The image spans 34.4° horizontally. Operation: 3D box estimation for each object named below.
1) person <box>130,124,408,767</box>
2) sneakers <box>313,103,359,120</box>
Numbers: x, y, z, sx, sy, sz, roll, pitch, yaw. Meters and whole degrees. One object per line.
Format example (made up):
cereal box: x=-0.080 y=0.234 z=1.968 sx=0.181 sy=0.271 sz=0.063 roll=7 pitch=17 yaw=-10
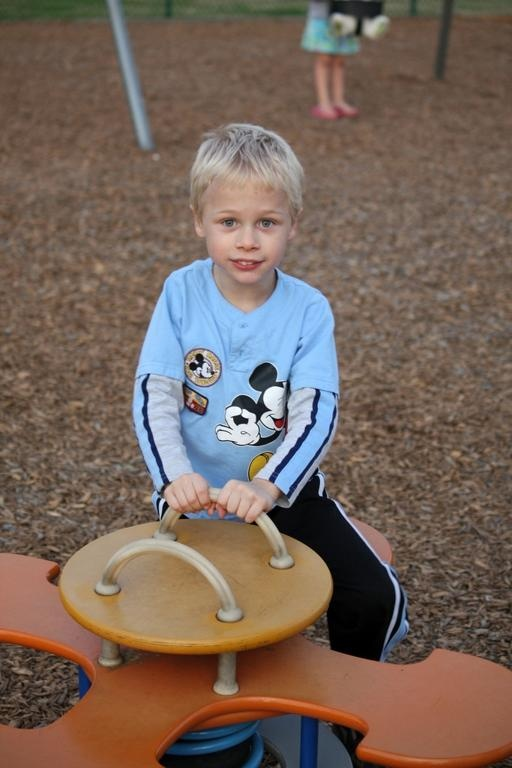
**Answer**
person: x=0.034 y=0.108 z=1.599 sx=0.538 sy=1.204 sz=0.707 roll=2 pitch=15 yaw=-9
sneakers: x=0.614 y=-2.027 z=6.160 sx=0.405 sy=0.140 sz=0.135 roll=-4 pitch=10 yaw=-21
